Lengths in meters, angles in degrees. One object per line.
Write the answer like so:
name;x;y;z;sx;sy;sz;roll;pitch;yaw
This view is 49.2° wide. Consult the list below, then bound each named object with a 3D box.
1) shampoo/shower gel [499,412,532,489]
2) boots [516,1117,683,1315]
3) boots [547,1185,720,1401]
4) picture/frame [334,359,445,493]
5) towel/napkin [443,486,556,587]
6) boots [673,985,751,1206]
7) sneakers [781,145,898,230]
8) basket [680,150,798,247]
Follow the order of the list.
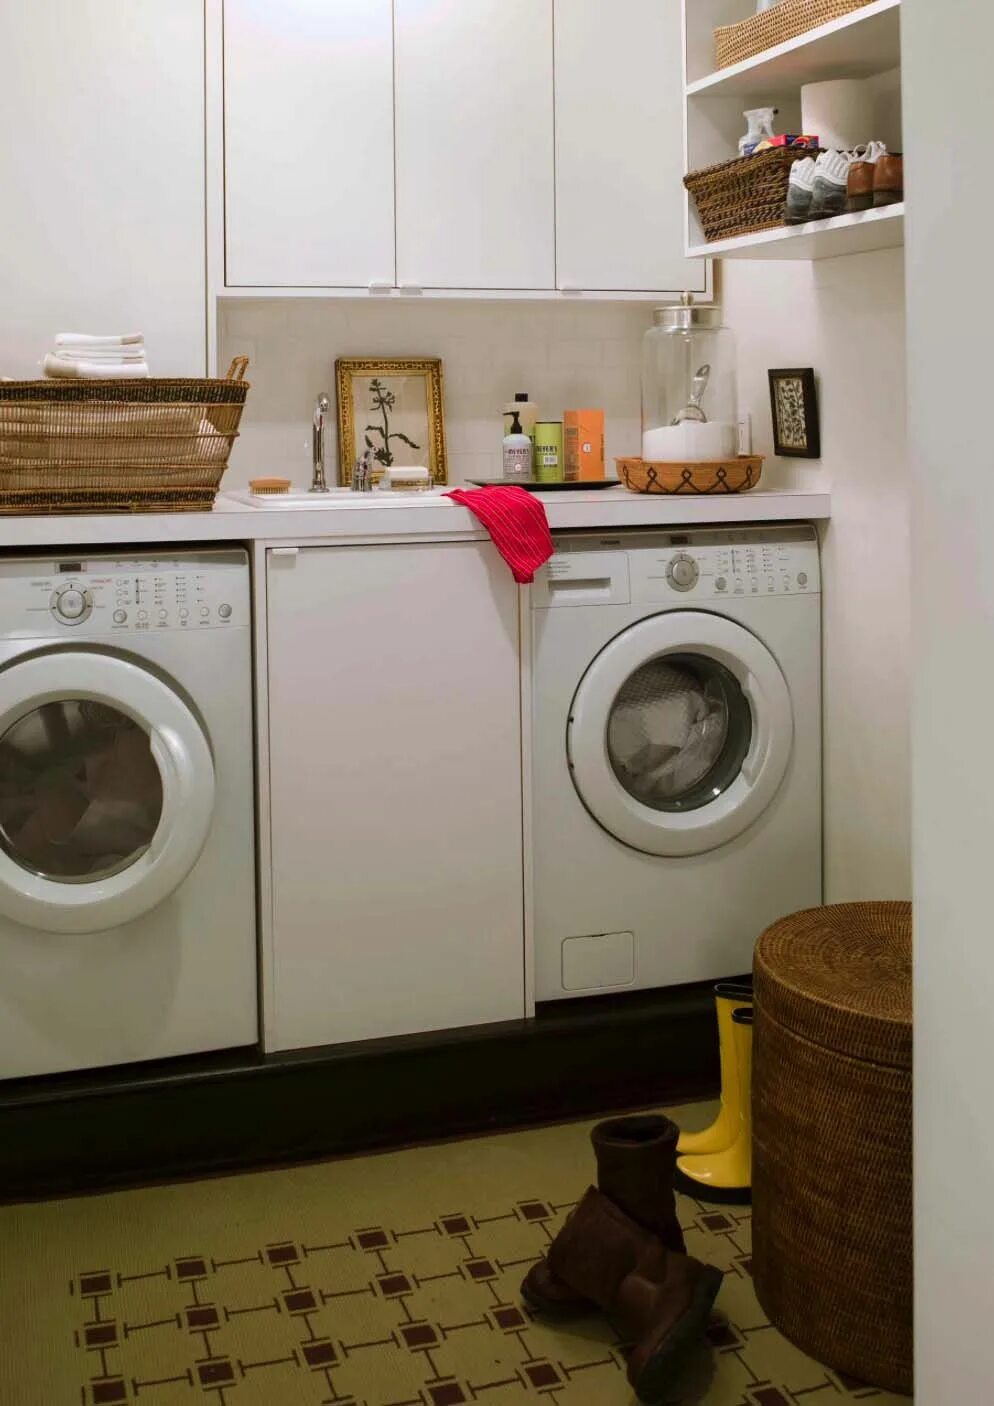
shampoo/shower gel;0.040;-0.594;2.564;0.068;0.195;0.183;-1;3;0
boots;0.141;0.703;1.522;0.256;0.251;0.121;-3;3;31
boots;0.164;0.723;1.360;0.227;0.241;0.123;10;11;19
picture/frame;-0.274;-0.666;2.603;0.346;0.441;0.029;-2;2;-21
towel/napkin;-0.001;-0.315;1.980;0.169;0.172;0.059;-29;5;-37
boots;0.345;0.637;1.786;0.132;0.320;0.084;0;3;27
sneakers;0.579;-0.826;1.758;0.273;0.106;0.099;-29;37;-33
basket;0.439;-0.930;2.042;0.168;0.092;0.247;-10;15;-21
